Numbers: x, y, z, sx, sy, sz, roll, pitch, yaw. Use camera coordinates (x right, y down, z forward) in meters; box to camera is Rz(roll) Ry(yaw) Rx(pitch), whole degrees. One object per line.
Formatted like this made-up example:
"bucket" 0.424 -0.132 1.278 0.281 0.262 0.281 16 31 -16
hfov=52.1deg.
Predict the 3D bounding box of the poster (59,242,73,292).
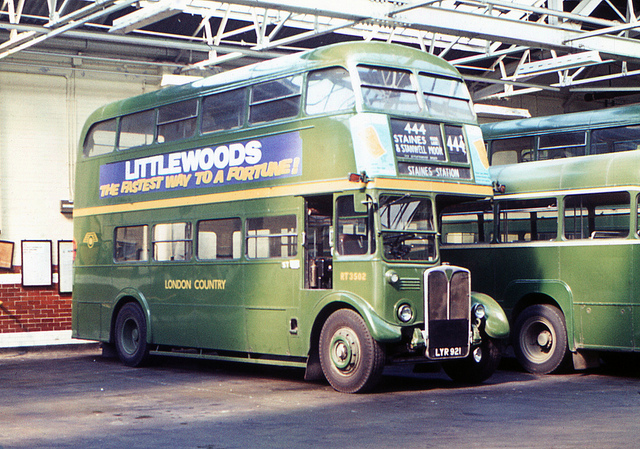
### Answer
"poster" -7.343 1.225 19.190 0.813 1.475 0.094 -4 -7 27
